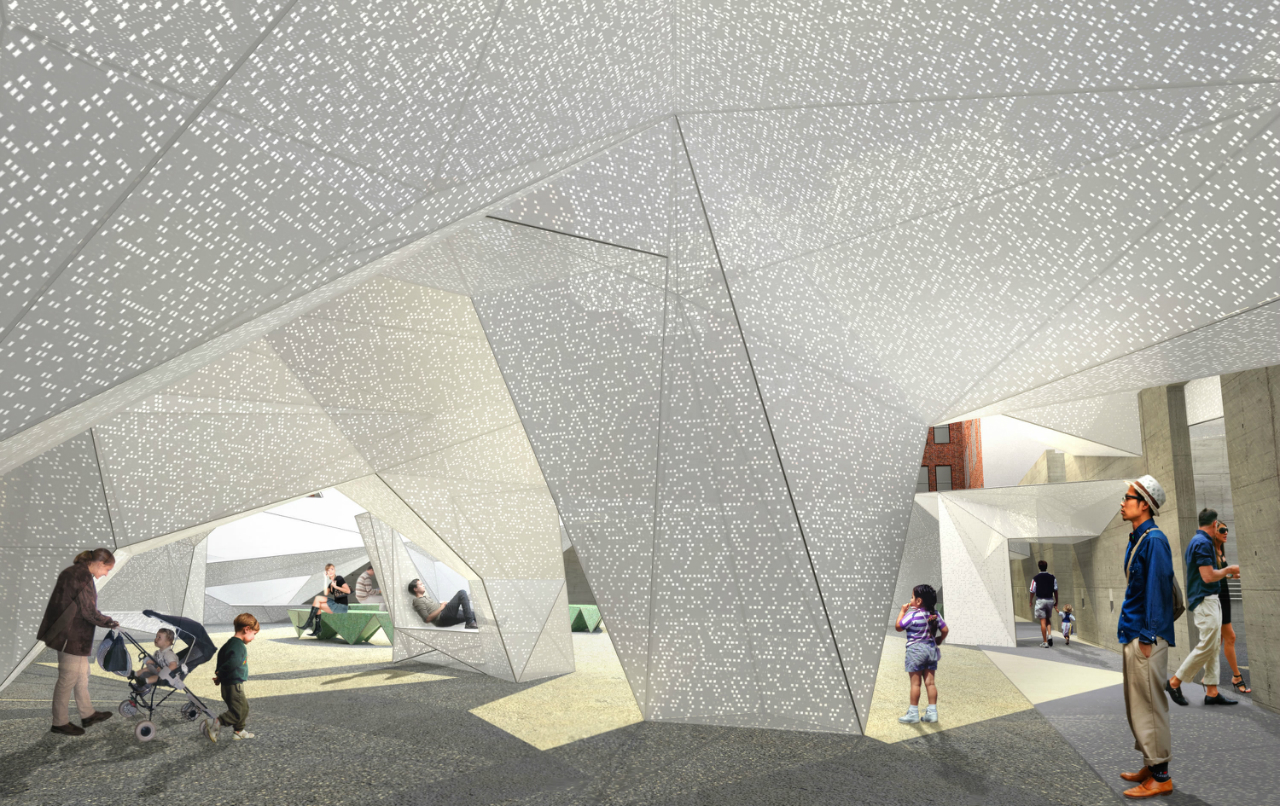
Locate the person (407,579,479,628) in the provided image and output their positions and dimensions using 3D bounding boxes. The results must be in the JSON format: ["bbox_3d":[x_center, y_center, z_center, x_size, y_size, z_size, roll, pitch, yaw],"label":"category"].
[{"bbox_3d":[-5.061,5.125,18.402,0.717,1.220,2.685,9,-19,-42],"label":"person"}]

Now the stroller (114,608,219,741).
[{"bbox_3d":[-7.643,4.329,11.514,1.071,1.583,1.429,-22,-22,39],"label":"stroller"}]
